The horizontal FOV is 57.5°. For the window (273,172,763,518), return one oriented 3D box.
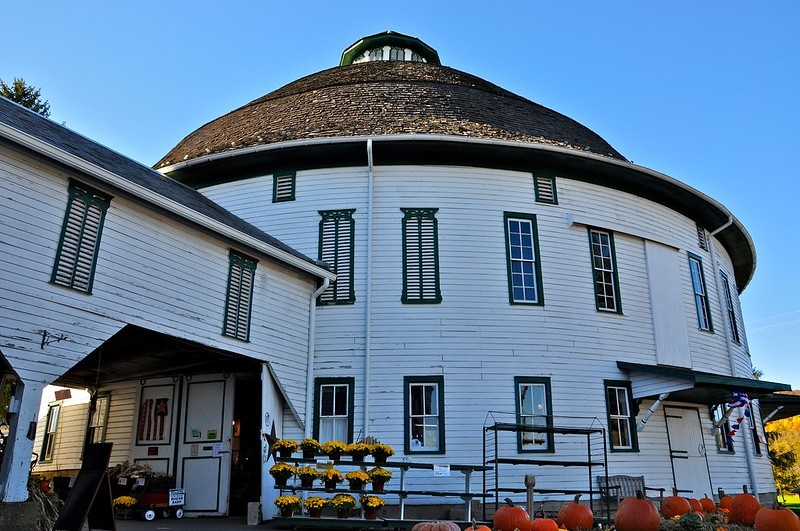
[{"bbox_3d":[2.176,2.955,25.332,13.402,6.611,11.857,5,-16,-16],"label":"window"}]

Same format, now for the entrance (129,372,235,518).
[{"bbox_3d":[-5.686,4.827,19.205,4.018,4.267,0.526,-6,-16,18],"label":"entrance"}]

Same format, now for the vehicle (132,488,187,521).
[{"bbox_3d":[-6.034,5.983,18.329,1.134,0.589,0.639,6,-10,-41],"label":"vehicle"}]

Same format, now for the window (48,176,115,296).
[{"bbox_3d":[-6.784,-0.619,15.427,1.345,2.282,0.104,21,14,18],"label":"window"}]

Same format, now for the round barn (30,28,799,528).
[{"bbox_3d":[3.510,0.634,25.811,22.991,11.491,16.193,-2,-17,10],"label":"round barn"}]
